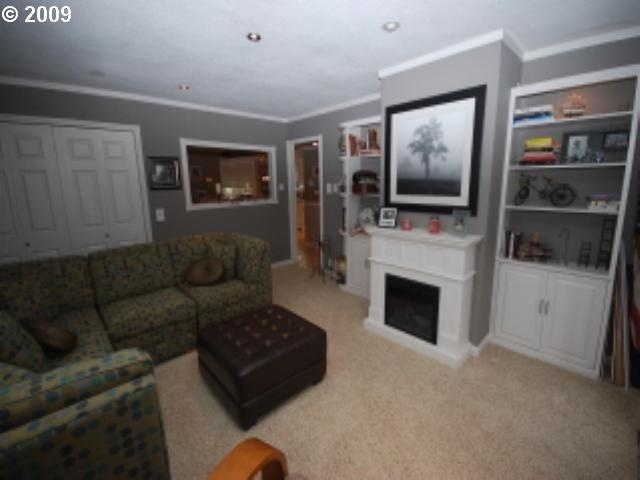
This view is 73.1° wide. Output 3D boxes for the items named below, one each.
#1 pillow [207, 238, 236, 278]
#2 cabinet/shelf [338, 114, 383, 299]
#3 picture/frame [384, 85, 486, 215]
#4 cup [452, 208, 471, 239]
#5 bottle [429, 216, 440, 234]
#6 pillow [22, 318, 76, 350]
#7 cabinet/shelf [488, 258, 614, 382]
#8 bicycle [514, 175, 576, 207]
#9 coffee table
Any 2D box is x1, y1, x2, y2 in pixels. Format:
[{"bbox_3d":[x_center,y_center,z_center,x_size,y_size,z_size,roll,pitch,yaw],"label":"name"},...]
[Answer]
[{"bbox_3d":[-1.138,0.143,5.074,0.258,0.527,0.125,-10,-22,-12],"label":"pillow"},{"bbox_3d":[0.550,-0.412,5.541,0.483,2.282,0.837,-4,12,-16],"label":"cabinet/shelf"},{"bbox_3d":[1.177,-0.924,4.301,1.153,1.438,0.059,7,12,41],"label":"picture/frame"},{"bbox_3d":[1.367,-0.170,4.203,0.131,0.238,0.152,-5,13,-19],"label":"cup"},{"bbox_3d":[1.170,-0.151,4.397,0.113,0.135,0.211,2,13,14],"label":"bottle"},{"bbox_3d":[-2.261,0.841,3.620,0.298,0.118,0.316,20,-5,7],"label":"pillow"},{"bbox_3d":[2.222,0.747,4.067,0.890,0.972,0.359,9,9,39],"label":"cabinet/shelf"},{"bbox_3d":[2.216,-0.485,4.257,0.603,0.394,0.224,6,13,44],"label":"bicycle"},{"bbox_3d":[-0.541,1.099,3.956,0.971,0.704,0.776,-10,15,-36],"label":"coffee table"}]
